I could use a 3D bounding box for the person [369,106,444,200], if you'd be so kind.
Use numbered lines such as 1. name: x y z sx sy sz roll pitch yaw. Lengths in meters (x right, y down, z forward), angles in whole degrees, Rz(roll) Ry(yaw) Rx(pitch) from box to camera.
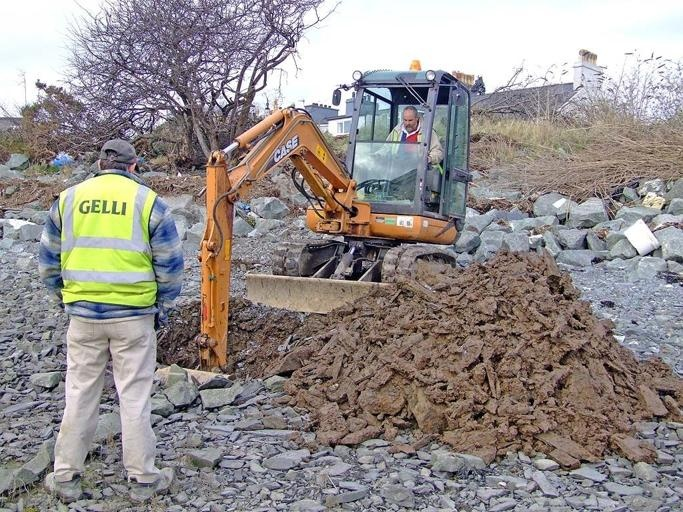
1. person: 0.971 -1.327 7.809 1.071 1.628 0.856 -3 -11 20

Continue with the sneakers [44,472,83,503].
1. sneakers: -1.999 1.638 3.820 0.309 0.171 0.119 3 8 21

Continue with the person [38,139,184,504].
1. person: -1.668 0.433 3.916 0.984 2.563 0.659 -1 8 -13

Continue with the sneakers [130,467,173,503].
1. sneakers: -1.347 1.635 3.939 0.159 0.215 0.319 10 18 21

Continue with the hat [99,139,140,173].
1. hat: -1.612 -0.763 4.077 0.242 0.175 0.330 7 -1 27
